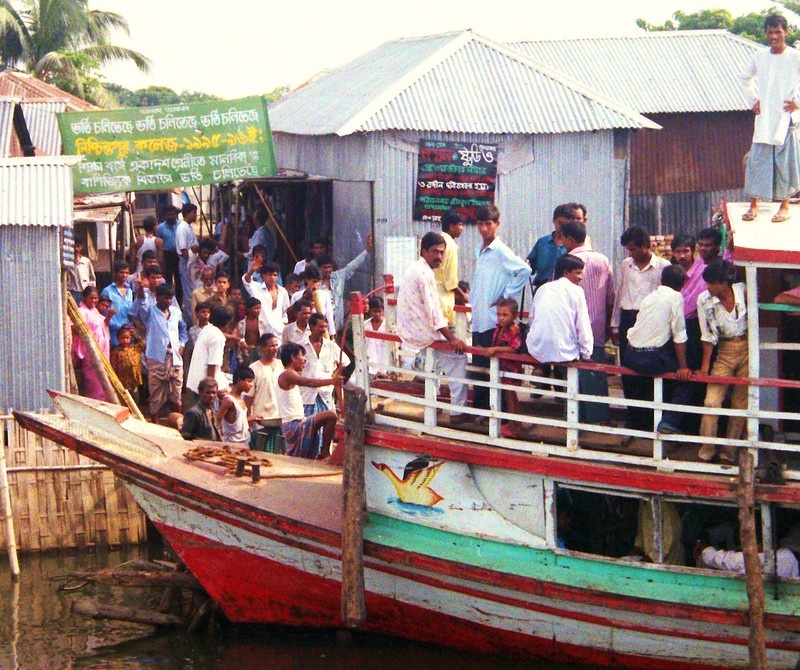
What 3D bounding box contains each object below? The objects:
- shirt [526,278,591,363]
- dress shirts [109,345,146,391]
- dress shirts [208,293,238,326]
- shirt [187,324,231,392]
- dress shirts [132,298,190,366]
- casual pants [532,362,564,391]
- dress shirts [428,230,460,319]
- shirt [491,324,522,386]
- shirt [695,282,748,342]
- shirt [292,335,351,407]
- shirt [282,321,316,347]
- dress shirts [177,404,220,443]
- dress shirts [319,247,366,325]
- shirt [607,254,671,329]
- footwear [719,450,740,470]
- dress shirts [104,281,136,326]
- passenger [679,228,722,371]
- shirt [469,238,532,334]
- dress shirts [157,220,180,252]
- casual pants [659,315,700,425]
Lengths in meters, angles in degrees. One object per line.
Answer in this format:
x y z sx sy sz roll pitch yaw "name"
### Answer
1.642 -0.164 17.987 0.848 0.924 0.510 5 -7 31 "shirt"
-3.628 0.405 22.095 0.296 0.625 0.459 1 9 45 "dress shirts"
-2.334 -0.352 21.834 0.412 0.444 0.233 0 -5 -22 "dress shirts"
-2.381 0.264 20.751 0.401 0.787 0.665 5 9 -30 "shirt"
-3.213 -0.048 22.156 0.734 0.829 0.431 4 -10 -39 "dress shirts"
1.728 0.467 19.204 0.310 0.334 0.558 -2 -3 25 "casual pants"
0.483 -0.555 19.149 0.230 1.089 0.419 -9 15 -31 "dress shirts"
1.139 0.201 18.130 0.252 0.803 0.608 -1 0 -23 "shirt"
3.380 -0.248 17.555 0.463 0.520 0.286 -9 7 -8 "shirt"
-0.987 0.432 20.152 0.696 1.125 0.291 3 -13 -22 "shirt"
-1.264 -0.103 20.758 0.391 0.491 0.247 2 4 -3 "shirt"
-2.374 1.093 19.739 0.339 0.526 0.597 -6 -8 37 "dress shirts"
-0.790 -0.648 22.641 0.204 1.171 0.711 31 47 22 "dress shirts"
2.634 -0.462 18.455 0.511 0.775 0.247 26 26 33 "shirt"
3.436 1.291 17.552 0.168 0.195 0.169 1 2 12 "footwear"
-3.795 -0.414 22.579 0.228 0.638 0.452 -20 -18 32 "dress shirts"
3.232 -0.334 18.031 0.336 1.381 1.196 5 -14 -3 "passenger"
1.007 -0.590 19.126 0.439 1.101 1.075 -2 0 -35 "shirt"
-3.476 -1.472 25.061 0.443 0.530 0.276 -1 -2 -31 "dress shirts"
3.086 0.459 18.040 0.363 1.372 0.389 10 -12 -22 "casual pants"
